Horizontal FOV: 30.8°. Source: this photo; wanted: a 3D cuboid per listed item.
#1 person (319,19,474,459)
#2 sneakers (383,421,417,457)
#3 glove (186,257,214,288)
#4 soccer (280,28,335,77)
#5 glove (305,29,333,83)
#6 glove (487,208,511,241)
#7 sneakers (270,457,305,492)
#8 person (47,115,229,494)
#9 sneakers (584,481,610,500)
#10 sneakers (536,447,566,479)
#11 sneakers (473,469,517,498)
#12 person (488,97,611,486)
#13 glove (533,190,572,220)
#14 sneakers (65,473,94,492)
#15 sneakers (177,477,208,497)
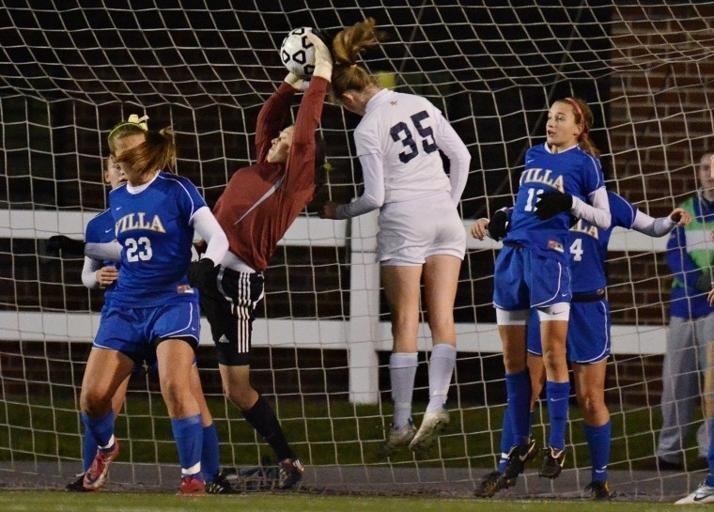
[{"bbox_3d":[0.344,-0.168,9.657,1.014,3.175,0.418,-2,-6,1],"label":"person"},{"bbox_3d":[0.312,1.337,9.581,0.357,0.127,0.154,-36,8,10],"label":"sneakers"},{"bbox_3d":[-1.103,0.125,9.230,0.182,0.207,0.061,1,-28,30],"label":"glove"},{"bbox_3d":[-0.426,-1.557,9.908,0.441,0.397,0.392,2,6,6],"label":"soccer"},{"bbox_3d":[-0.264,-1.506,9.736,0.160,0.315,0.265,-8,-6,6],"label":"glove"},{"bbox_3d":[1.159,-0.257,10.209,0.104,0.225,0.194,21,-16,-36],"label":"glove"},{"bbox_3d":[-0.524,1.686,9.981,0.158,0.255,0.125,-2,-12,21],"label":"sneakers"},{"bbox_3d":[-1.489,0.331,9.481,1.146,2.797,0.576,-2,-6,8],"label":"person"},{"bbox_3d":[1.809,1.770,9.765,0.092,0.089,0.225,1,0,4],"label":"sneakers"},{"bbox_3d":[1.470,1.529,9.834,0.137,0.314,0.141,15,-42,24],"label":"sneakers"},{"bbox_3d":[1.026,1.725,9.842,0.398,0.146,0.129,-7,12,-27],"label":"sneakers"},{"bbox_3d":[1.420,0.257,9.866,1.023,3.001,0.551,-4,-6,20],"label":"person"},{"bbox_3d":[1.481,-0.390,9.758,0.272,0.238,0.251,-2,-5,7],"label":"glove"},{"bbox_3d":[-2.086,1.691,9.674,0.136,0.062,0.196,1,3,-16],"label":"sneakers"},{"bbox_3d":[-1.197,1.665,9.392,0.192,0.141,0.294,-1,-5,-8],"label":"sneakers"}]
